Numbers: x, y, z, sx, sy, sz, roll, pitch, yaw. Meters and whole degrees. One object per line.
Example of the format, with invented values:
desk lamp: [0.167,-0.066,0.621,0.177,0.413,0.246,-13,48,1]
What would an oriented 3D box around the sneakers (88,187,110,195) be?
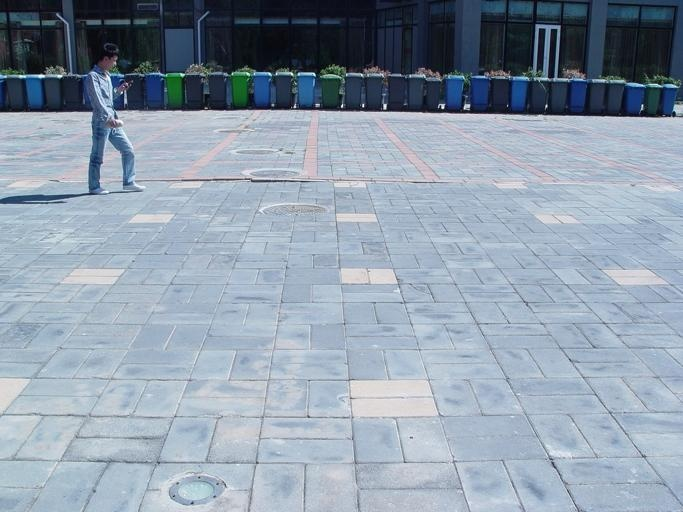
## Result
sneakers: [-3.999,-1.073,8.699,0.301,0.075,0.133,-2,11,2]
